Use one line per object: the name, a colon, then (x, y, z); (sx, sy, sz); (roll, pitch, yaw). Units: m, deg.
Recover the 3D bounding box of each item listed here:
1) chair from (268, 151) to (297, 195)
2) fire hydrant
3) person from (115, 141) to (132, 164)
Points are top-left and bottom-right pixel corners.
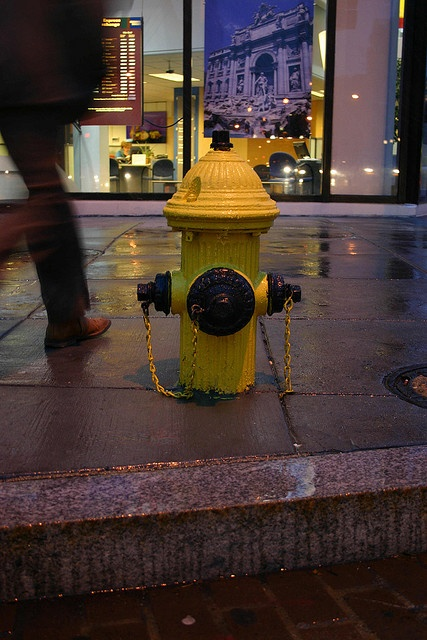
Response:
chair: (1.803, -3.690, 13.698); (0.855, 1.263, 0.770); (3, 50, 6)
fire hydrant: (0.038, -0.224, 2.414); (0.746, 1.167, 0.413); (-2, 14, -7)
person: (-2.302, -4.344, 14.166); (0.384, 0.572, 1.345); (-1, 13, -6)
